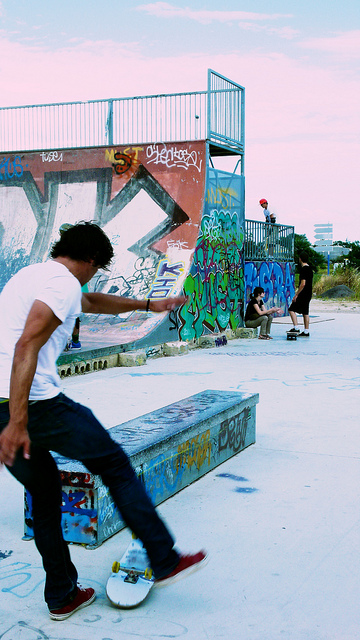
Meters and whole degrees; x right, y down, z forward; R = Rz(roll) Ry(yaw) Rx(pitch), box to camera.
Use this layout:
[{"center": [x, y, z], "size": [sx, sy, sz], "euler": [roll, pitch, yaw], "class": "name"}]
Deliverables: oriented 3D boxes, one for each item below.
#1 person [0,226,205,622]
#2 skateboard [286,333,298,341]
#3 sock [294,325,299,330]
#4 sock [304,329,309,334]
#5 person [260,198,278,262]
[{"center": [-0.329, 0.363, 2.602], "size": [0.629, 1.445, 0.925], "euler": [-1, 4, -1], "class": "person"}, {"center": [2.126, 0.315, 12.506], "size": [0.191, 0.120, 0.332], "euler": [0, 4, 8], "class": "skateboard"}, {"center": [2.379, 0.147, 13.511], "size": [0.074, 0.108, 0.106], "euler": [2, 14, 36], "class": "sock"}, {"center": [2.533, 0.216, 13.236], "size": [0.096, 0.099, 0.058], "euler": [-10, 15, -39], "class": "sock"}, {"center": [2.242, -2.285, 16.747], "size": [0.544, 1.586, 0.485], "euler": [-1, 2, 12], "class": "person"}]
